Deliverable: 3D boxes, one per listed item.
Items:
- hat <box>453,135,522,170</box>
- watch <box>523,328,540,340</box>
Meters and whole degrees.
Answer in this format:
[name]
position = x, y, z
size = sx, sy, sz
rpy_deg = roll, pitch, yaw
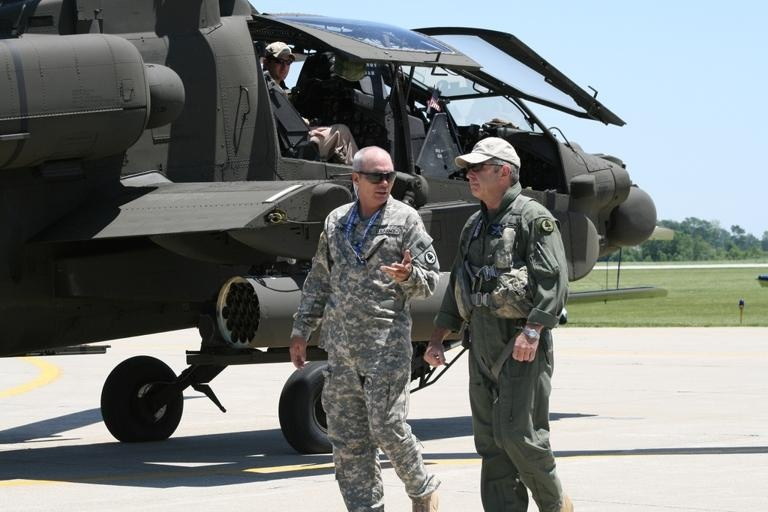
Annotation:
[hat]
position = 0.826, -0.797, 7.009
size = 0.424, 0.185, 0.250
rpy_deg = 10, -7, -8
[watch]
position = 1.080, 0.571, 6.595
size = 0.111, 0.090, 0.096
rpy_deg = 0, 43, -2
